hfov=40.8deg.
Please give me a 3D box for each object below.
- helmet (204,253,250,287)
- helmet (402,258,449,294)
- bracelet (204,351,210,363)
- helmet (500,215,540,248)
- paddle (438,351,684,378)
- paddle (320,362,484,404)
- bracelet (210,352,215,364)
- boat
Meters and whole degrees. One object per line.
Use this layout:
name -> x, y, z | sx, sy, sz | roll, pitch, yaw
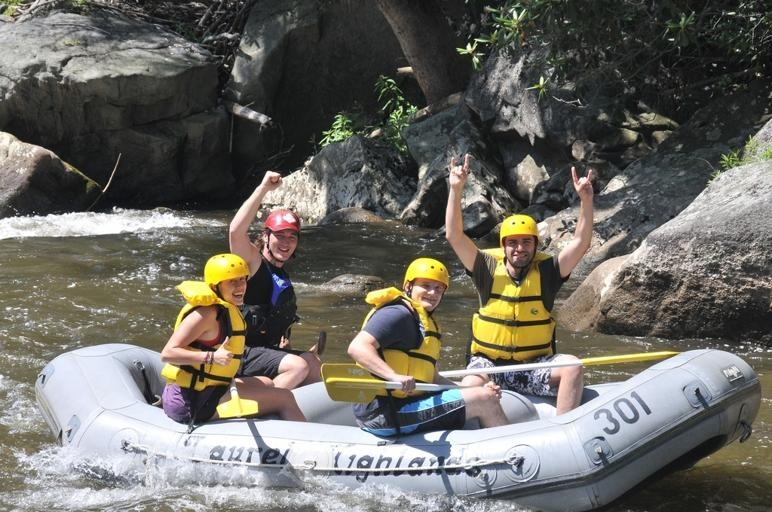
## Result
helmet -> -1.863, 0.167, 11.979 | 0.452, 0.345, 0.343 | -12, -6, 26
helmet -> 0.433, 0.210, 11.999 | 0.348, 0.341, 0.452 | 12, -33, -18
bracelet -> -2.006, 1.149, 11.589 | 0.082, 0.099, 0.091 | -1, -15, -27
helmet -> 1.613, -0.332, 12.471 | 0.323, 0.435, 0.338 | 0, 11, 6
paddle -> 2.204, 1.327, 12.541 | 2.888, 0.156, 0.287 | -3, 31, -3
paddle -> 0.086, 1.461, 11.551 | 1.950, 0.522, 0.153 | 2, 7, -11
bracelet -> -1.963, 1.151, 11.580 | 0.037, 0.100, 0.075 | 4, -9, -4
boat -> 0.197, 2.108, 11.897 | 5.655, 0.970, 3.221 | 1, -3, 10
